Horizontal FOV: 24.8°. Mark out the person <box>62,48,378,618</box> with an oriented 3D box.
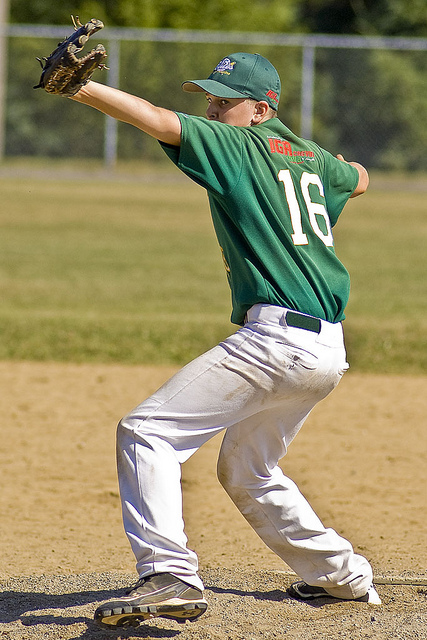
[{"bbox_3d":[0.059,0.063,2.834,0.974,1.708,0.395,-3,8,-37],"label":"person"}]
